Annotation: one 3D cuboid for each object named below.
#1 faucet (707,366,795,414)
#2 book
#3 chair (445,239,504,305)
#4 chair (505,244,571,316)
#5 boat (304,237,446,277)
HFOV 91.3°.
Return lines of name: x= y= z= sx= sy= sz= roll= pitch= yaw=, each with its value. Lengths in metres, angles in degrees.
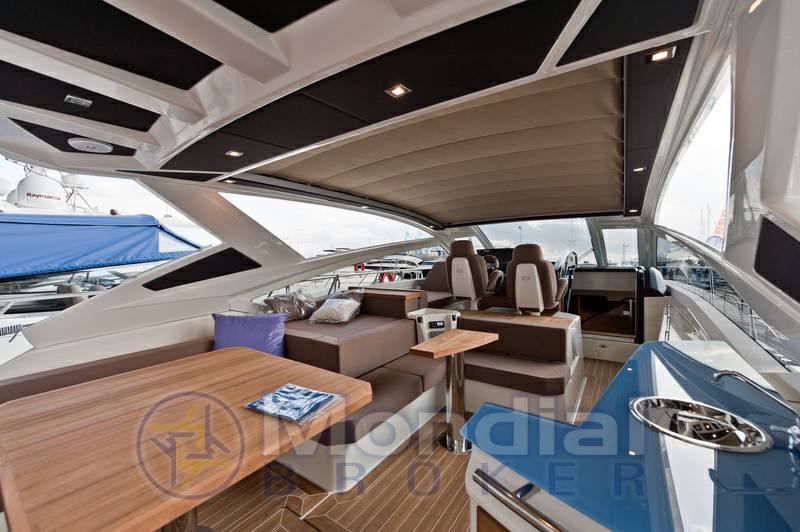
faucet: x=1.603 y=0.576 z=1.772 sx=0.127 sy=0.053 sz=0.336 roll=38 pitch=-1 yaw=-31
book: x=-0.544 y=0.727 z=1.987 sx=0.255 sy=0.022 sz=0.225 roll=3 pitch=9 yaw=28
chair: x=0.977 y=0.137 z=5.208 sx=0.752 sy=0.787 sz=0.867 roll=-1 pitch=-7 yaw=32
chair: x=1.605 y=0.167 z=4.685 sx=0.697 sy=0.713 sz=0.794 roll=-1 pitch=-2 yaw=32
boat: x=-0.337 y=-0.141 z=6.268 sx=2.109 sy=0.591 sz=0.532 roll=-8 pitch=24 yaw=-12
